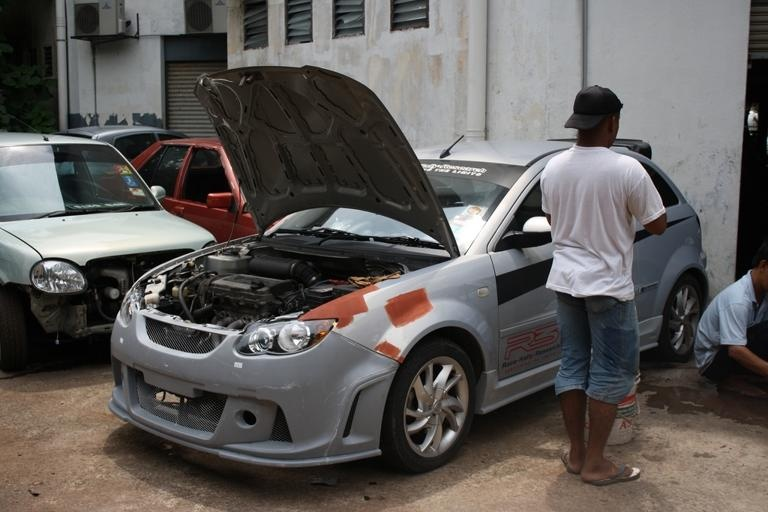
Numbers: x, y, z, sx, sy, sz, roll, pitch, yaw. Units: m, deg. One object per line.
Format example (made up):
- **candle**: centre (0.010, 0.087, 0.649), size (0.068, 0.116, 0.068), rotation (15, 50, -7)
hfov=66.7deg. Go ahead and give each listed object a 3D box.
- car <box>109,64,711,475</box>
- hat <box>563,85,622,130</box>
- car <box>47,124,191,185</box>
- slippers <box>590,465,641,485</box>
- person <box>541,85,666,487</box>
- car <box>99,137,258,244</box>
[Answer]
- **car**: centre (0.408, -0.075, 5.456), size (5.066, 2.232, 2.679), rotation (-7, 9, -37)
- **hat**: centre (1.415, -1.010, 3.961), size (0.303, 0.293, 0.298), rotation (7, 15, 28)
- **car**: centre (-5.852, -2.353, 13.199), size (2.565, 1.040, 1.405), rotation (-6, 14, -26)
- **slippers**: centre (1.641, 1.531, 4.141), size (0.326, 0.076, 0.137), rotation (-6, 9, -10)
- **person**: centre (1.478, 0.212, 4.067), size (0.495, 2.720, 0.754), rotation (-9, 17, -31)
- **car**: centre (-2.606, -1.014, 8.253), size (2.455, 1.056, 1.468), rotation (23, 23, 39)
